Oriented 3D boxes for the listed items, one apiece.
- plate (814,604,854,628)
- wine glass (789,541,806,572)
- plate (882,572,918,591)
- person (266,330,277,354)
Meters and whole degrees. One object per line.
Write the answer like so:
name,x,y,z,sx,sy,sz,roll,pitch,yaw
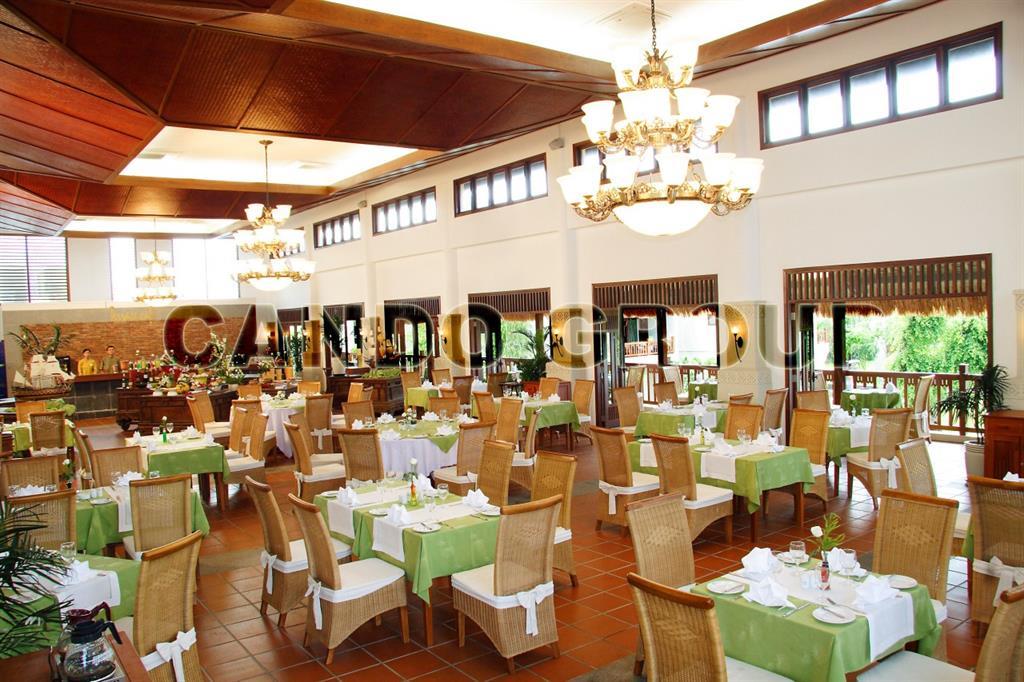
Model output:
plate,2.405,2.045,4.885,0.272,0.045,0.216,2,8,31
wine glass,2.513,1.787,5.697,0.132,0.242,0.416,2,8,29
plate,3.105,1.920,5.196,0.241,0.064,0.194,0,8,16
person,-9.822,0.013,26.731,0.322,0.940,0.685,-6,9,-29
